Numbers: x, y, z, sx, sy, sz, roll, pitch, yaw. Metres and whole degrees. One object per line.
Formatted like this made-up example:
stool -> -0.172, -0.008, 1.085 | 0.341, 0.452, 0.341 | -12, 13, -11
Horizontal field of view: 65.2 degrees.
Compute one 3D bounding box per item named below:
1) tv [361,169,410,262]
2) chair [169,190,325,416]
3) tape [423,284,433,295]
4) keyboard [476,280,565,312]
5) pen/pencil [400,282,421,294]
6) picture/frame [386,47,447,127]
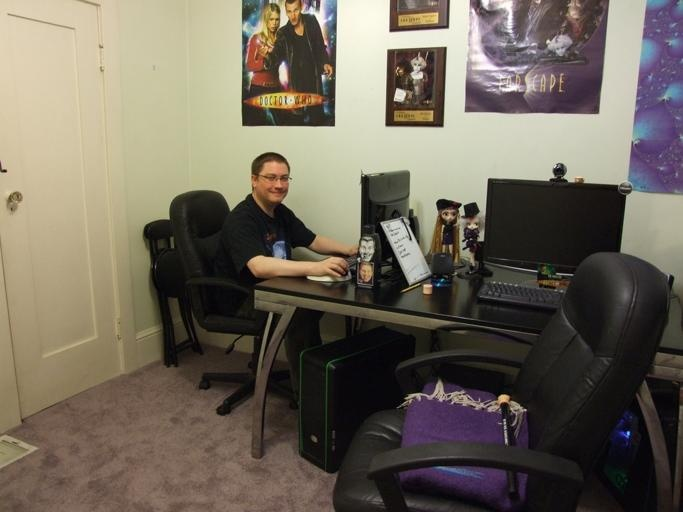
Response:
tv -> 0.215, -0.191, 2.685 | 0.063, 0.404, 0.388 | 7, 16, 33
chair -> -0.752, 0.133, 3.937 | 1.049, 2.011, 1.082 | 1, 6, 16
tape -> 0.403, 0.154, 2.501 | 0.041, 0.032, 0.042 | 5, 7, 42
keyboard -> 0.791, 0.170, 2.404 | 0.235, 0.040, 0.133 | 8, 30, 33
pen/pencil -> 0.331, 0.155, 2.575 | 0.110, 0.013, 0.012 | -24, 60, -41
picture/frame -> 0.449, -1.001, 3.127 | 0.391, 0.508, 0.037 | 7, 14, 26
